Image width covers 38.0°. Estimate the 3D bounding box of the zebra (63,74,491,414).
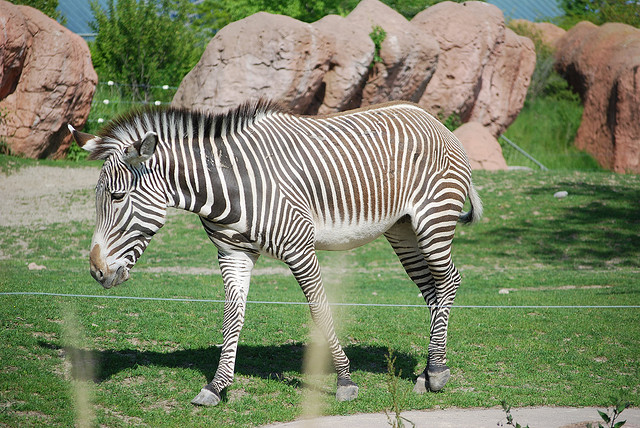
[{"bbox_3d":[-0.289,0.616,16.229,7.596,5.048,2.324,-4,4,-21],"label":"zebra"}]
